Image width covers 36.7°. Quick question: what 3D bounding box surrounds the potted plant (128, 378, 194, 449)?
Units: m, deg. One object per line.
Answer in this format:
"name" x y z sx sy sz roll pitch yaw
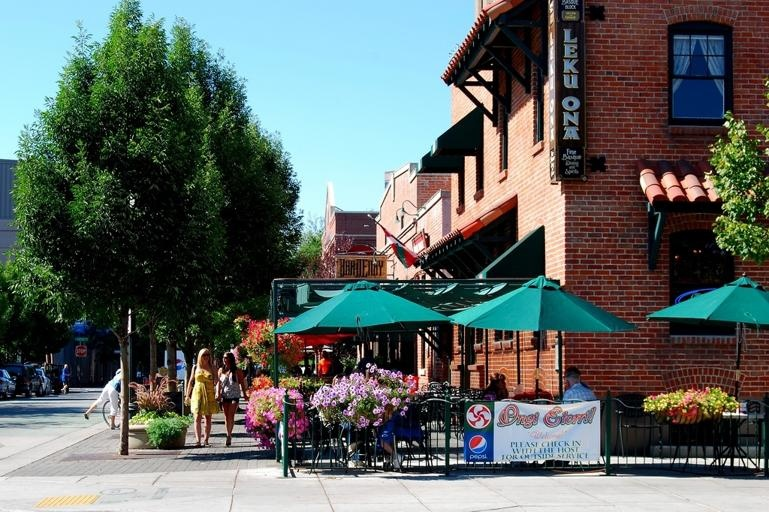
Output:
"potted plant" -5.645 3.874 28.783 1.242 1.062 1.219 -12 -2 -1

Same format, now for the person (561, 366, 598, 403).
"person" 4.277 2.848 25.458 0.708 0.686 0.418 -2 -9 -9

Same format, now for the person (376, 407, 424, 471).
"person" 0.471 3.855 24.328 1.129 1.635 1.136 3 -9 -16

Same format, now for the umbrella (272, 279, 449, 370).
"umbrella" -0.706 1.409 25.332 3.383 1.677 3.496 6 -14 -21

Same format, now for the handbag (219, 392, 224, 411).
"handbag" -4.152 3.744 29.742 0.122 0.435 0.408 3 -12 -8

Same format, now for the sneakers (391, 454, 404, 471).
"sneakers" 0.290 4.348 24.290 0.221 0.338 0.093 2 -1 20

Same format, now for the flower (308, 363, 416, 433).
"flower" -0.445 2.925 24.077 2.006 1.329 0.631 1 -12 0
